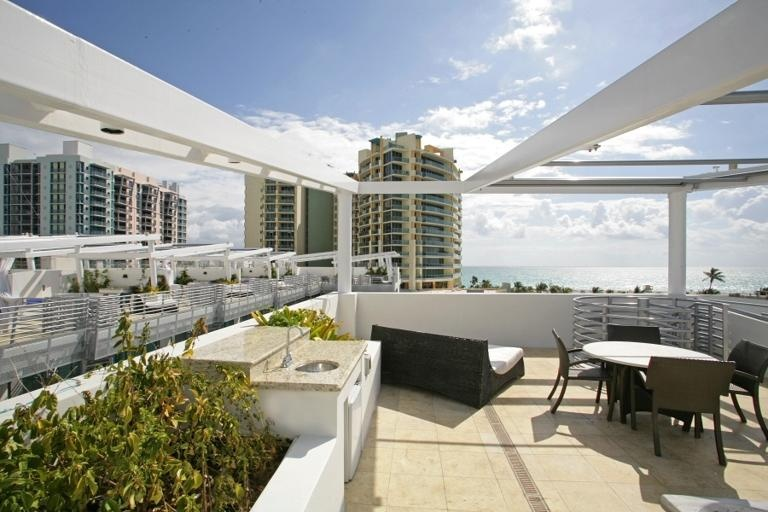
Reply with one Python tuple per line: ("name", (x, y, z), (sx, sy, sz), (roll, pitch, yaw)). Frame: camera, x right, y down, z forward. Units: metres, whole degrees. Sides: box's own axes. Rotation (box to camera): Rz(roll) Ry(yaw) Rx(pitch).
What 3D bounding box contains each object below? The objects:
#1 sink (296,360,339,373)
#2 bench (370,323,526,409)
("sink", (-0.794, 1.324, 5.177), (0.277, 0.092, 0.267), (-1, -3, 1))
("bench", (0.963, 1.701, 6.938), (2.274, 1.155, 1.088), (2, 13, 11))
